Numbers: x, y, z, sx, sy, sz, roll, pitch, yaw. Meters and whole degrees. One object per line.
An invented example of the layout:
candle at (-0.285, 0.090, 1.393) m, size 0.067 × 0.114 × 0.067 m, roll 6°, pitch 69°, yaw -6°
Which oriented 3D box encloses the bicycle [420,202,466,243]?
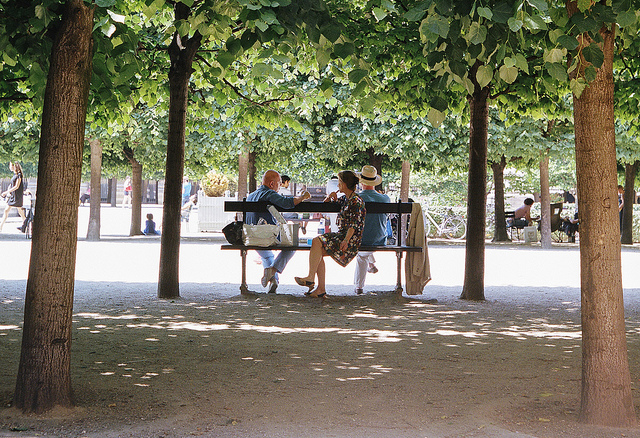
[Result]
bicycle at (4.608, 0.244, 28.898) m, size 1.563 × 1.112 × 2.053 m, roll 3°, pitch 15°, yaw 8°

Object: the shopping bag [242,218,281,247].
shopping bag at (-0.902, 0.169, 12.022) m, size 0.602 × 0.459 × 0.308 m, roll 5°, pitch 31°, yaw 8°

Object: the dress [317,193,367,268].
dress at (0.331, 0.188, 11.699) m, size 0.663 × 1.052 × 0.332 m, roll 1°, pitch 14°, yaw -1°

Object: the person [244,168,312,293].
person at (-0.610, 0.189, 12.634) m, size 0.948 × 1.904 × 1.034 m, roll -12°, pitch 12°, yaw -29°

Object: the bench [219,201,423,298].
bench at (-0.042, 0.440, 12.130) m, size 3.103 × 1.592 × 1.064 m, roll 0°, pitch 4°, yaw 2°

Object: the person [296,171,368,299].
person at (0.231, 0.273, 11.841) m, size 0.878 × 1.973 × 0.554 m, roll 2°, pitch 14°, yaw 3°

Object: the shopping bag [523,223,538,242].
shopping bag at (7.115, 0.486, 26.074) m, size 0.458 × 0.668 × 0.480 m, roll 2°, pitch -4°, yaw -22°
